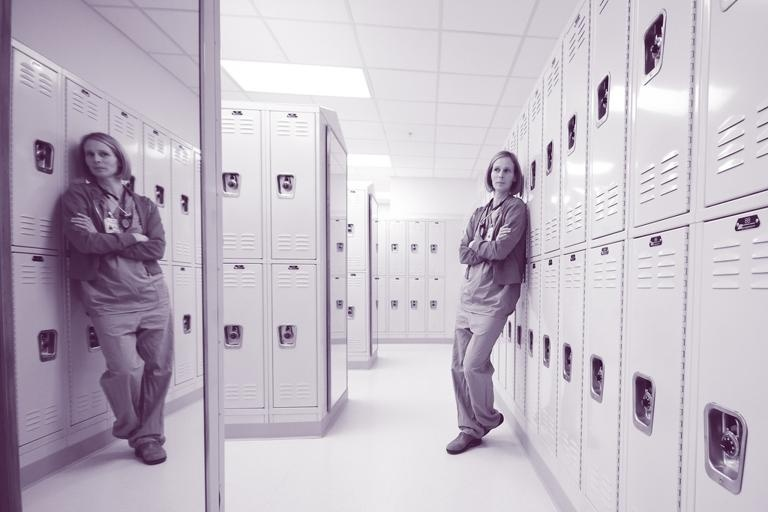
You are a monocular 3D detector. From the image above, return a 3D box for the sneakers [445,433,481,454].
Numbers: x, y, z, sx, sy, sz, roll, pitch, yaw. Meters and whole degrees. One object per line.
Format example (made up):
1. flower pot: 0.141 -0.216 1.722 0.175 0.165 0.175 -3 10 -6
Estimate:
1. sneakers: 0.517 1.210 3.725 0.258 0.104 0.099 2 -3 -40
